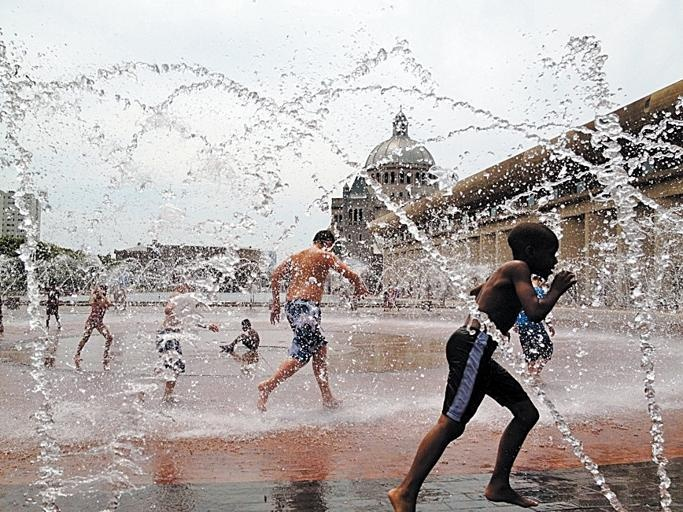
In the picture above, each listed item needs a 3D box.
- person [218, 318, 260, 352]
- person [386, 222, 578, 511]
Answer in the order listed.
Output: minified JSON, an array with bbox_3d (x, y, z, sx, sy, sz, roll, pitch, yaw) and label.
[{"bbox_3d":[-1.686,1.489,13.827,0.576,0.575,0.816,1,0,38],"label":"person"},{"bbox_3d":[1.202,0.867,6.175,1.443,2.287,0.678,0,-2,-3],"label":"person"}]
